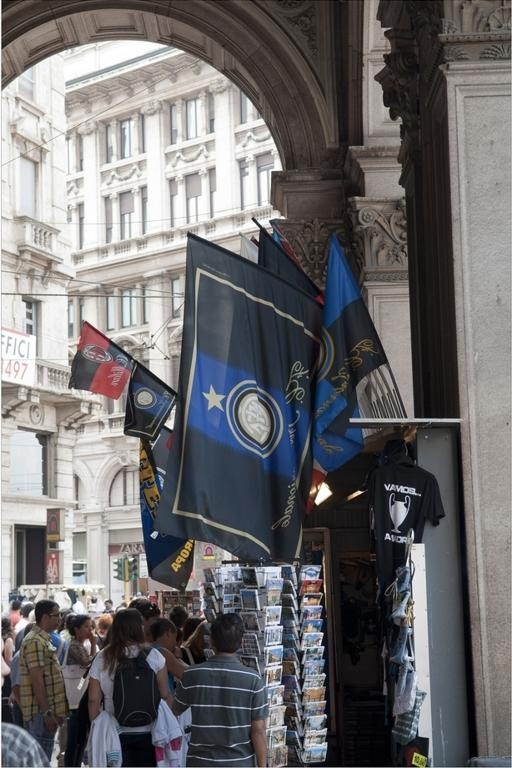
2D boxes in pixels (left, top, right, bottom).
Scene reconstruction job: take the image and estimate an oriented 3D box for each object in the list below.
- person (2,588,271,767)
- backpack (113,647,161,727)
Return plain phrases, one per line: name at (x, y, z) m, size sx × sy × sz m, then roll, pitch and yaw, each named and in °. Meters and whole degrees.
person at (-0.544, 1.882, 9.004) m, size 1.026 × 0.978 × 2.710 m, roll 2°, pitch -11°, yaw -24°
backpack at (-0.685, 1.824, 8.835) m, size 0.259 × 0.438 × 0.226 m, roll 2°, pitch 4°, yaw -1°
